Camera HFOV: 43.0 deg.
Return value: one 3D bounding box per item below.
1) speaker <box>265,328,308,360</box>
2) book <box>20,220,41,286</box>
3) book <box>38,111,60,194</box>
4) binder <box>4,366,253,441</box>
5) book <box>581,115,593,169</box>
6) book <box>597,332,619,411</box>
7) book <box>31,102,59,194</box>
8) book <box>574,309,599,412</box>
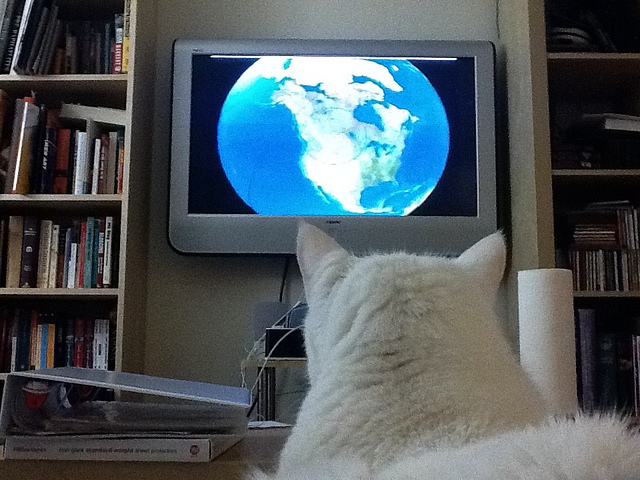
[{"bbox_3d":[-0.111,0.362,2.881,0.156,0.109,0.092,-1,-10,0],"label":"speaker"},{"bbox_3d":[-1.102,0.051,3.085,0.038,0.187,0.173,3,14,-11],"label":"book"},{"bbox_3d":[-1.021,-0.333,3.117,0.041,0.275,0.095,0,13,-4],"label":"book"},{"bbox_3d":[-0.455,0.391,2.009,0.575,0.183,0.232,1,6,1],"label":"binder"},{"bbox_3d":[1.055,-0.381,3.164,0.038,0.202,0.019,0,7,19],"label":"book"},{"bbox_3d":[1.082,0.490,3.015,0.074,0.250,0.079,3,10,13],"label":"book"},{"bbox_3d":[-1.059,-0.345,3.108,0.079,0.329,0.069,1,5,-1],"label":"book"},{"bbox_3d":[1.025,0.431,3.080,0.095,0.339,0.250,2,6,18],"label":"book"}]
